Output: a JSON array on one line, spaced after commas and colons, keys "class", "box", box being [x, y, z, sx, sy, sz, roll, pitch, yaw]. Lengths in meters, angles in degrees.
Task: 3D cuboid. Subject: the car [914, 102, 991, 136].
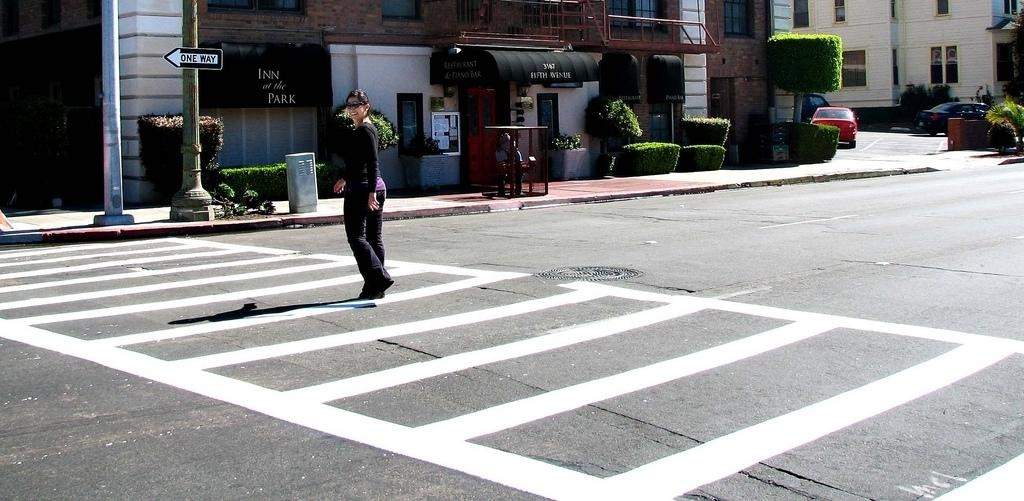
[{"class": "car", "box": [29.387, -9.007, 49.490, 3.579, 2.110, 2.446, -1, 10, 2]}]

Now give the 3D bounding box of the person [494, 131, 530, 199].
[{"class": "person", "box": [-0.088, -3.086, 25.417, 0.916, 2.271, 1.052, 3, 12, 28]}]

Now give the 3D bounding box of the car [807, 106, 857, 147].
[{"class": "car", "box": [18.701, -7.260, 42.736, 2.232, 2.293, 3.070, 0, 11, 9]}]

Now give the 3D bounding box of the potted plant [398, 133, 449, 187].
[{"class": "potted plant", "box": [-3.400, -3.449, 28.583, 2.196, 1.985, 2.377, -2, 4, -33]}]
